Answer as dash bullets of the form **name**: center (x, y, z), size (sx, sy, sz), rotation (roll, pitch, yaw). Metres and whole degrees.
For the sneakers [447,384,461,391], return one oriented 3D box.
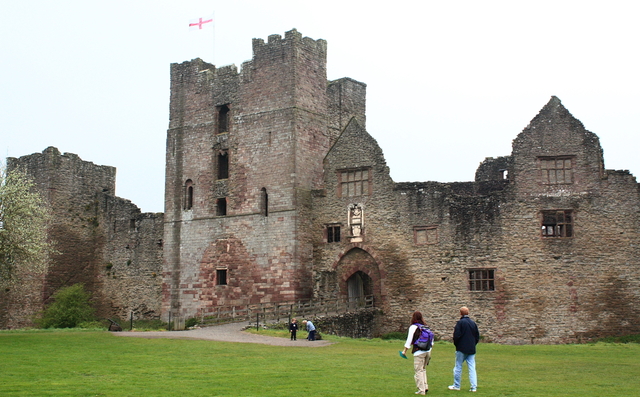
- **sneakers**: center (6.167, 8.682, 36.116), size (0.249, 0.161, 0.452), rotation (1, 1, -28)

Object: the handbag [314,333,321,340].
- **handbag**: center (-0.076, 8.586, 48.775), size (0.450, 0.239, 0.375), rotation (0, -13, -2)

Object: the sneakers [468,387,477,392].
- **sneakers**: center (7.008, 8.676, 35.683), size (0.307, 0.168, 0.312), rotation (-2, -15, 11)
